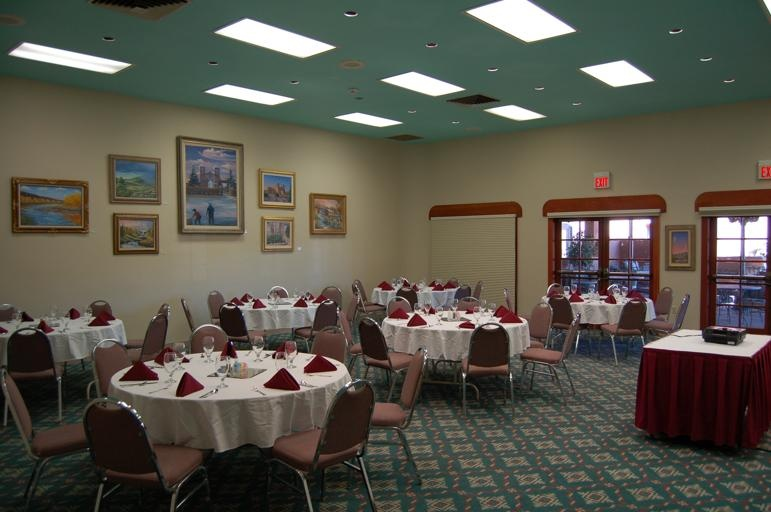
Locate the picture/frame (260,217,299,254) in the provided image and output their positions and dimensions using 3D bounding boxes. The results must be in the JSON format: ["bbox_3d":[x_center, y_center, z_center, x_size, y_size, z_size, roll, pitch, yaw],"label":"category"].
[{"bbox_3d":[-2.605,-0.490,12.141,0.966,0.928,0.100,1,-3,-41],"label":"picture/frame"}]
